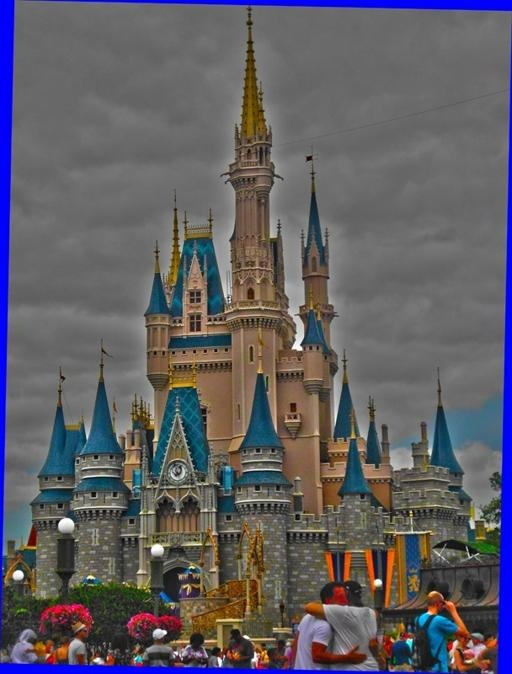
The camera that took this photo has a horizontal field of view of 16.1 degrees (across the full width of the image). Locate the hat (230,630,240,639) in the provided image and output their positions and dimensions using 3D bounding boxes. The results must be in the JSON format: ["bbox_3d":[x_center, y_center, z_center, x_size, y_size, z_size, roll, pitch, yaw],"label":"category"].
[{"bbox_3d":[-0.239,3.717,22.639,0.098,0.148,0.137,4,-1,16],"label":"hat"}]
